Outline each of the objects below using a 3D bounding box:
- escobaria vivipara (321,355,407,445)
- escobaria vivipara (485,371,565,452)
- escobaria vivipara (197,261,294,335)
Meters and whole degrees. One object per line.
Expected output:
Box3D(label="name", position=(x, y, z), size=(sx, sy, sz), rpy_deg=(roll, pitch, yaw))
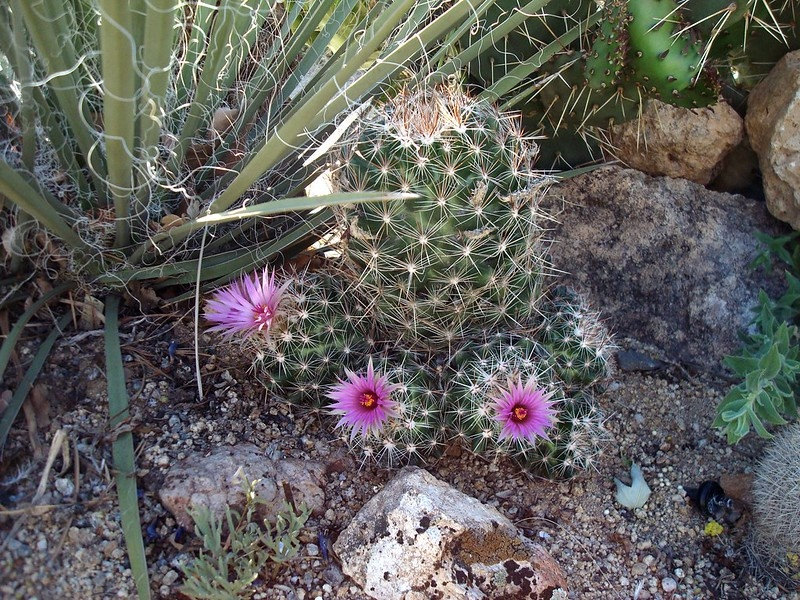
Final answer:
Box3D(label="escobaria vivipara", position=(-0.089, 0.247, 1.794), size=(0.190, 0.224, 0.179), rpy_deg=(27, 53, 4))
Box3D(label="escobaria vivipara", position=(0.312, 0.292, 1.806), size=(0.173, 0.078, 0.170), rpy_deg=(-24, 66, -43))
Box3D(label="escobaria vivipara", position=(-0.413, 0.028, 1.867), size=(0.191, 0.083, 0.201), rpy_deg=(-33, 62, -3))
